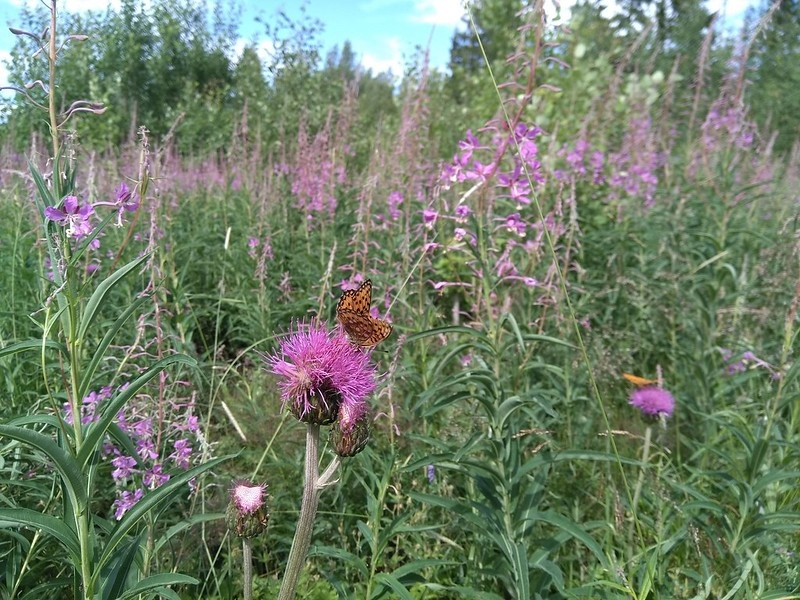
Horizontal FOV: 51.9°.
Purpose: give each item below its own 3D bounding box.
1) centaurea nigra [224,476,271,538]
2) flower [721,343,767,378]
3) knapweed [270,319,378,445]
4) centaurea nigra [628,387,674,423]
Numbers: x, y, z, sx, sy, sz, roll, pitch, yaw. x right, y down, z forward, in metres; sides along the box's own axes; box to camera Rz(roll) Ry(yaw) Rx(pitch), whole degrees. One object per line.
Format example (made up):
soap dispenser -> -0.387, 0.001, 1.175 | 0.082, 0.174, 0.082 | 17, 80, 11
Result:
centaurea nigra -> -0.799, 1.076, 4.290 | 0.201, 0.241, 0.247 | 7, 13, -11
flower -> 2.129, 0.389, 5.130 | 0.199, 0.205, 0.279 | -3, 18, -43
knapweed -> -0.412, 0.383, 4.230 | 0.582, 0.474, 0.365 | 9, 12, -5
centaurea nigra -> 1.560, 0.605, 5.041 | 0.188, 0.184, 0.197 | -9, 15, -27
